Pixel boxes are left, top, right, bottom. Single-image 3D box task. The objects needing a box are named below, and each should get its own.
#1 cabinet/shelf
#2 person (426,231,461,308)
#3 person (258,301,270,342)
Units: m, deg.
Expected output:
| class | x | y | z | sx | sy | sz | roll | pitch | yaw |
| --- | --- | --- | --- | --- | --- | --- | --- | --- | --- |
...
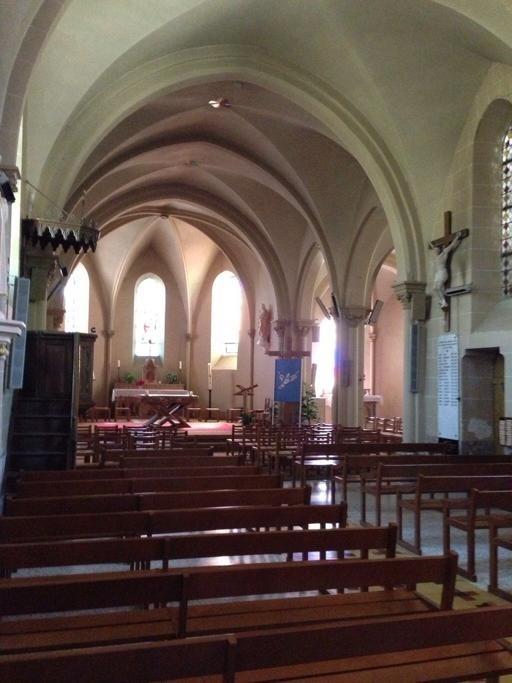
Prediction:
| class | x | y | z | sx | sy | sz | roll | pitch | yaw |
| --- | --- | --- | --- | --- | --- | --- | --- | --- | --- |
| cabinet/shelf | -3.222 | 0.509 | 8.979 | 1.316 | 1.270 | 0.859 | 2 | -10 | -17 |
| person | 3.459 | -1.236 | 10.146 | 0.190 | 1.310 | 0.604 | 5 | -5 | -26 |
| person | 0.343 | -0.648 | 21.798 | 0.396 | 1.540 | 0.862 | 3 | -5 | -5 |
